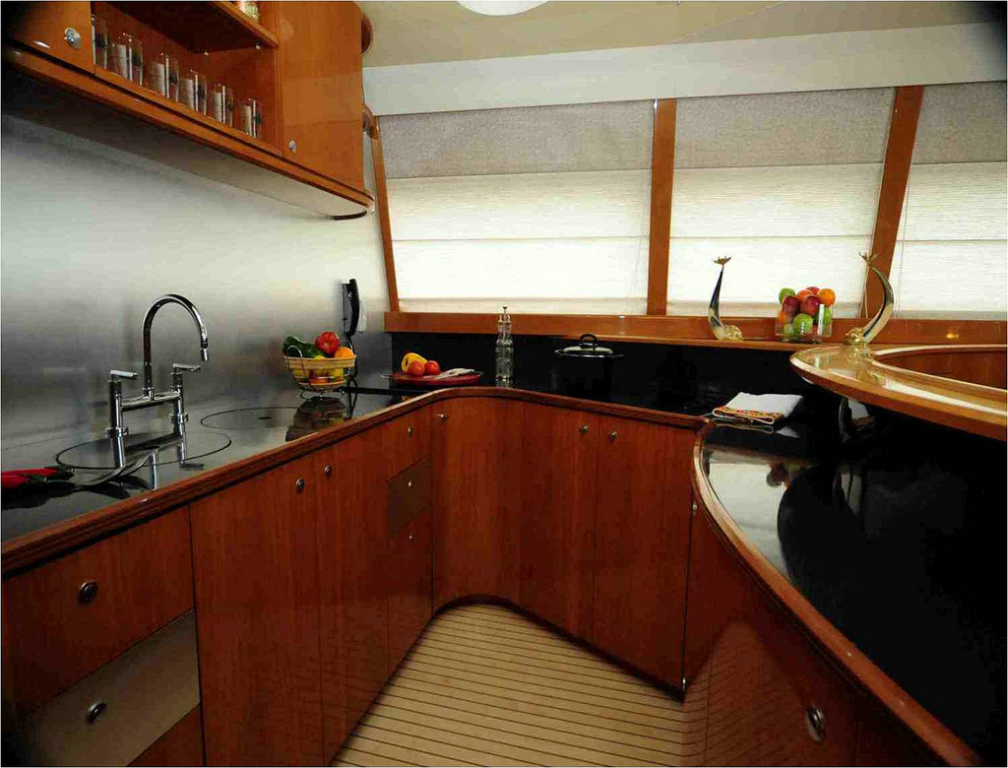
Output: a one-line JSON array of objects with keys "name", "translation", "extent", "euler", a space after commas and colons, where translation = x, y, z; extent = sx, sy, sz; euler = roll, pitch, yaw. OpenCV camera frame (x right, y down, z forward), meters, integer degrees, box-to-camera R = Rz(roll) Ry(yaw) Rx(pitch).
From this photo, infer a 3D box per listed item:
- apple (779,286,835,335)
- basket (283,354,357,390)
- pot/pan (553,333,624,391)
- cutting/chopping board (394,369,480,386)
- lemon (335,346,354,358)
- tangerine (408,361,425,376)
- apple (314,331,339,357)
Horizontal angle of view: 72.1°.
[{"name": "apple", "translation": [1.376, -0.331, 3.240], "extent": [0.245, 0.254, 0.241], "euler": [6, 10, 44]}, {"name": "basket", "translation": [-0.762, -0.048, 2.856], "extent": [0.173, 0.109, 0.189], "euler": [1, 3, 29]}, {"name": "pot/pan", "translation": [0.370, -0.098, 3.187], "extent": [0.285, 0.237, 0.279], "euler": [-3, 4, -39]}, {"name": "cutting/chopping board", "translation": [-0.280, -0.021, 3.184], "extent": [0.409, 0.058, 0.294], "euler": [-4, 7, -26]}, {"name": "lemon", "translation": [-0.672, -0.132, 2.913], "extent": [0.061, 0.061, 0.057], "euler": [0, 7, 0]}, {"name": "tangerine", "translation": [-0.393, -0.068, 3.138], "extent": [0.064, 0.076, 0.068], "euler": [7, -8, -1]}, {"name": "apple", "translation": [-0.753, -0.174, 2.950], "extent": [0.102, 0.102, 0.097], "euler": [2, 45, -19]}]
